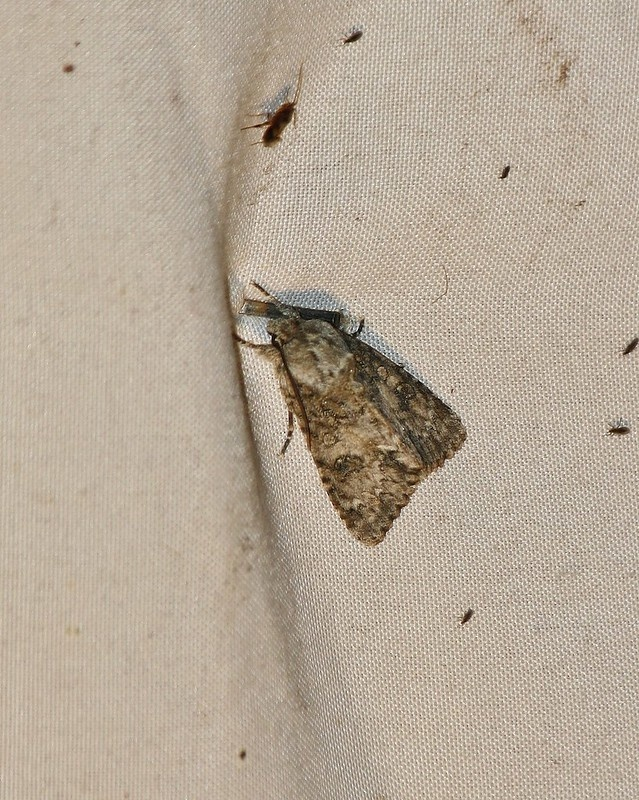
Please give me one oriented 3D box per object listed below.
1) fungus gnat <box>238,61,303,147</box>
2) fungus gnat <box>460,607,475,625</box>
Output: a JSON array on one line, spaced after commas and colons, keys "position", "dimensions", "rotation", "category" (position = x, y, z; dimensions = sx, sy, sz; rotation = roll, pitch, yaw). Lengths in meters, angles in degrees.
[{"position": [-0.113, -0.786, 2.844], "dimensions": [0.120, 0.085, 0.273], "rotation": [39, 95, 3], "category": "fungus gnat"}, {"position": [0.418, 0.618, 2.925], "dimensions": [0.029, 0.012, 0.044], "rotation": [33, 93, 3], "category": "fungus gnat"}]
